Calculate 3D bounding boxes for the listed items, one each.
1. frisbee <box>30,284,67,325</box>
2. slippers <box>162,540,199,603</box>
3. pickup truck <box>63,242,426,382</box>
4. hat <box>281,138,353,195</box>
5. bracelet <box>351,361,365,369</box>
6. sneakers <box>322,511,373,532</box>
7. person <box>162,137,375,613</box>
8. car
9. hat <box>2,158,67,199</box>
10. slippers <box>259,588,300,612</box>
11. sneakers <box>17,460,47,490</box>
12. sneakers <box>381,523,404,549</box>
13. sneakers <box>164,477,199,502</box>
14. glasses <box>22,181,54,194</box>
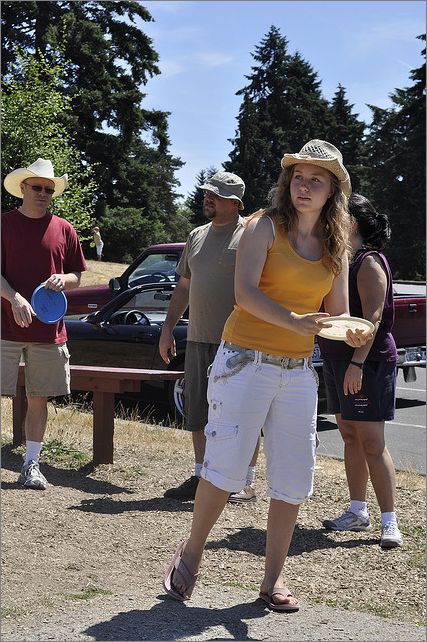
[{"bbox_3d":[-0.957,-0.095,3.983,0.132,0.218,0.315,7,1,24],"label":"frisbee"},{"bbox_3d":[-0.127,0.942,2.589,0.106,0.237,0.080,31,-19,-32],"label":"slippers"},{"bbox_3d":[-0.087,-0.066,7.721,4.465,1.413,1.907,5,3,19],"label":"pickup truck"},{"bbox_3d":[0.393,-0.603,2.570,0.277,0.090,0.188,12,1,6],"label":"hat"},{"bbox_3d":[0.735,0.219,3.518,0.054,0.021,0.036,29,16,7],"label":"bracelet"},{"bbox_3d":[0.752,1.109,3.872,0.293,0.111,0.095,2,-6,-7],"label":"sneakers"},{"bbox_3d":[0.256,0.192,2.490,0.611,1.712,0.504,7,1,-16],"label":"person"},{"bbox_3d":[-0.532,0.224,7.923,3.657,1.214,1.876,6,7,30],"label":"car"},{"bbox_3d":[-1.120,-0.893,4.215,0.324,0.124,0.339,13,-24,-30],"label":"hat"},{"bbox_3d":[0.254,1.022,2.549,0.085,0.042,0.143,2,-4,-25],"label":"slippers"},{"bbox_3d":[-1.044,0.887,4.002,0.145,0.149,0.165,6,1,-29],"label":"sneakers"},{"bbox_3d":[0.922,1.095,3.545,0.113,0.134,0.112,6,1,16],"label":"sneakers"},{"bbox_3d":[-0.120,1.039,4.312,0.337,0.119,0.116,3,-1,-26],"label":"sneakers"},{"bbox_3d":[-1.033,-0.781,4.073,0.103,0.028,0.106,6,4,-43],"label":"glasses"}]
